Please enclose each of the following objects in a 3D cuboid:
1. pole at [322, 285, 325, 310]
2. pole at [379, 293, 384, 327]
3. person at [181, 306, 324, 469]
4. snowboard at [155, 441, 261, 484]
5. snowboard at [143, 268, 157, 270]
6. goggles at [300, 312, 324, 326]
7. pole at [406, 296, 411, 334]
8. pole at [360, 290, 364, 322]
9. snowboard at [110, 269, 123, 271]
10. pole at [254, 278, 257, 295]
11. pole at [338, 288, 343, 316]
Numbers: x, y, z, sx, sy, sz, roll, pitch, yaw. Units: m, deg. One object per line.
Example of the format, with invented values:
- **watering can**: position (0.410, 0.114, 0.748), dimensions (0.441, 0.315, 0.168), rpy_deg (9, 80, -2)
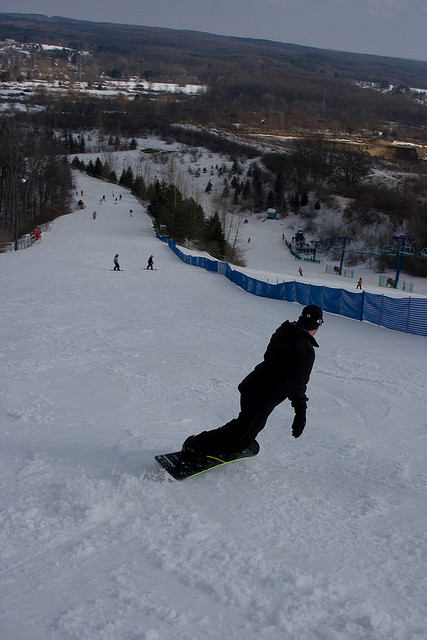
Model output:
- **pole**: position (4.407, -0.906, 22.733), dimensions (0.089, 0.838, 0.268), rpy_deg (7, 9, 11)
- **pole**: position (5.860, -0.282, 19.842), dimensions (0.072, 0.932, 0.137), rpy_deg (2, 9, -18)
- **person**: position (0.403, 0.692, 5.686), dimensions (1.183, 1.784, 0.626), rpy_deg (8, 9, 19)
- **snowboard**: position (-0.029, 1.508, 6.070), dimensions (1.159, 0.201, 0.349), rpy_deg (-7, 29, -34)
- **snowboard**: position (-3.332, -2.728, 30.412), dimensions (0.705, 0.020, 0.913), rpy_deg (4, 8, -4)
- **goggles**: position (0.982, -0.013, 5.497), dimensions (0.112, 0.061, 0.149), rpy_deg (40, 1, 38)
- **pole**: position (6.427, -0.131, 18.705), dimensions (0.090, 1.104, 0.152), rpy_deg (8, 9, 17)
- **pole**: position (5.428, -0.470, 20.648), dimensions (0.101, 1.027, 0.297), rpy_deg (7, 9, 14)
- **snowboard**: position (-4.701, -2.427, 27.712), dimensions (0.535, 0.037, 0.596), rpy_deg (4, 8, -3)
- **pole**: position (1.992, -1.573, 26.706), dimensions (0.062, 0.631, 0.213), rpy_deg (6, 8, 4)
- **pole**: position (4.885, -0.684, 21.793), dimensions (0.088, 0.959, 0.280), rpy_deg (7, 9, 12)
